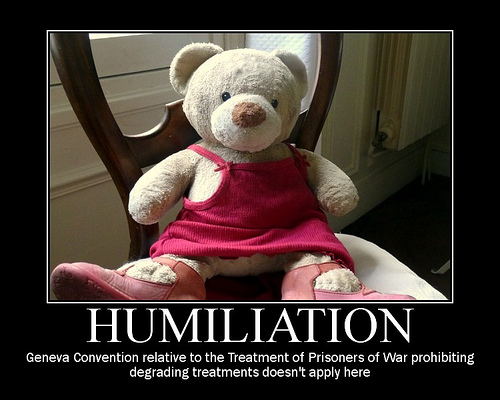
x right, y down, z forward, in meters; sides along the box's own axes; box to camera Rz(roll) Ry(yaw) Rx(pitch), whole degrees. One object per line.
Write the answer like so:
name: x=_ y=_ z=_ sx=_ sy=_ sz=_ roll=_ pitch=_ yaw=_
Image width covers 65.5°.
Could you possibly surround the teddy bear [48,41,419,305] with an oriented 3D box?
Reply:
teddy bear: x=-0.046 y=-0.043 z=0.663 sx=0.494 sy=0.493 sz=0.366 roll=-2 pitch=6 yaw=-14
